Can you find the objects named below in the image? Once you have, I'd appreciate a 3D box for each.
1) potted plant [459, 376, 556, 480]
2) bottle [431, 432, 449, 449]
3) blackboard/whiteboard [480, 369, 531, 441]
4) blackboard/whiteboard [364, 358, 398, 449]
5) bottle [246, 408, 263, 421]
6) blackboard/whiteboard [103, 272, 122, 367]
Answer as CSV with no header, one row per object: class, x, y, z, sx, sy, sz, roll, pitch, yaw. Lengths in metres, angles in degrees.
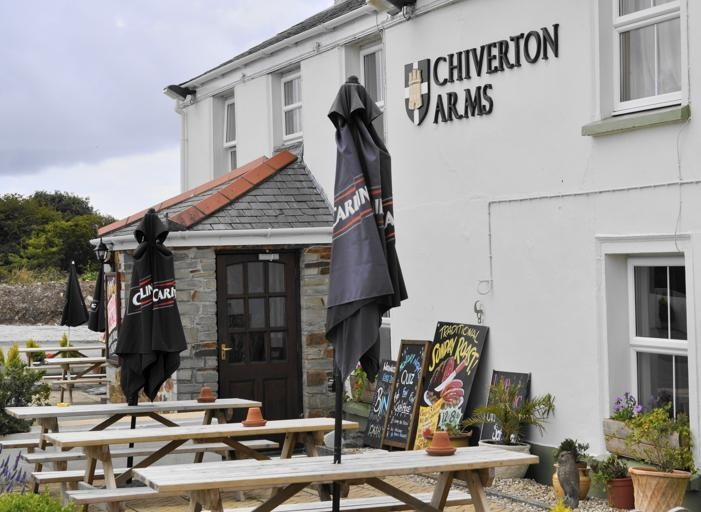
potted plant,2.211,2.426,15.199,0.780,1.127,0.715,21,-14,-42
bottle,1.036,2.126,12.692,0.161,0.150,0.172,0,0,-26
blackboard/whiteboard,2.145,2.202,15.217,0.566,1.202,0.097,0,-30,18
blackboard/whiteboard,0.472,2.228,16.409,0.162,1.744,1.349,13,-12,-5
bottle,-1.235,1.995,13.860,0.144,0.105,0.157,1,0,0
blackboard/whiteboard,-4.101,1.059,18.946,0.104,1.998,1.485,1,-2,-17
